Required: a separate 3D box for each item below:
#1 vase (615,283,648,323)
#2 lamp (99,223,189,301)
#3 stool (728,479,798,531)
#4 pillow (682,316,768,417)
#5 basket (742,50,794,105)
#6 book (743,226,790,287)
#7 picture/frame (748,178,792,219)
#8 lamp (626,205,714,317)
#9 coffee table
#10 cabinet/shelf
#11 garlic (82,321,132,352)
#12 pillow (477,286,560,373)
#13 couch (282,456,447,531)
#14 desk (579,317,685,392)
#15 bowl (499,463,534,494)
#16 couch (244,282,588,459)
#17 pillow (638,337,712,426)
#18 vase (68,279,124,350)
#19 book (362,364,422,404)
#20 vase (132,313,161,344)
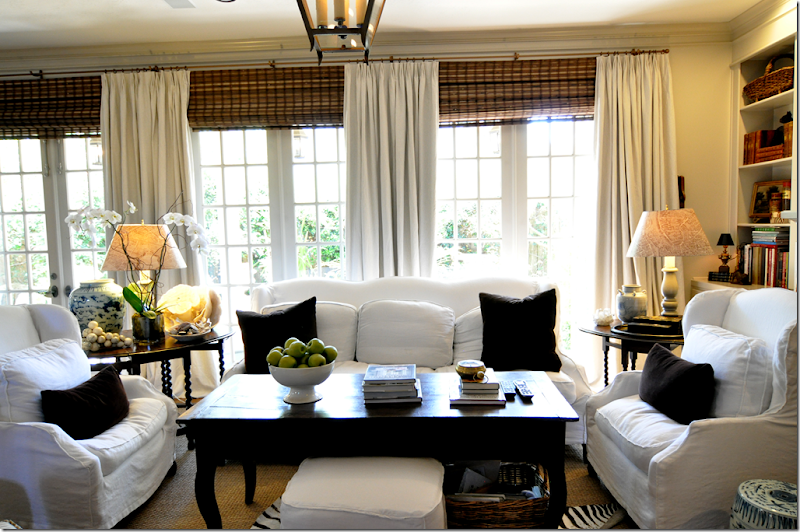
[{"bbox_3d":[1.938,0.327,5.064,0.252,0.292,0.240,-2,3,18],"label":"vase"},{"bbox_3d":[-2.085,-0.094,4.920,0.620,0.475,0.305,-5,6,-25],"label":"lamp"},{"bbox_3d":[2.120,1.417,3.526,0.326,0.253,0.303,0,6,31],"label":"stool"},{"bbox_3d":[2.232,0.748,4.185,0.396,0.601,0.700,3,7,-15],"label":"pillow"},{"bbox_3d":[3.204,-1.589,5.259,0.341,0.392,0.595,-1,2,-12],"label":"basket"},{"bbox_3d":[3.171,-0.076,5.190,0.197,0.497,0.535,-4,6,-9],"label":"book"},{"bbox_3d":[3.272,-0.583,5.341,0.163,0.440,0.453,8,-2,4],"label":"picture/frame"},{"bbox_3d":[2.165,-0.031,5.025,0.631,0.915,0.558,2,6,8],"label":"lamp"},{"bbox_3d":[-0.060,1.265,4.188,2.889,0.910,1.559,3,5,7],"label":"coffee table"},{"bbox_3d":[3.227,-0.898,5.349,0.301,1.988,0.921,1,6,1],"label":"cabinet/shelf"},{"bbox_3d":[-2.275,0.547,4.697,0.316,0.141,0.227,8,-3,-3],"label":"garlic"},{"bbox_3d":[0.937,0.483,4.775,0.710,0.599,0.434,5,7,4],"label":"pillow"},{"bbox_3d":[-0.216,1.377,3.653,0.946,0.327,0.343,-3,6,3],"label":"couch"},{"bbox_3d":[1.914,0.635,4.895,0.663,0.630,0.674,-3,-5,43],"label":"desk"},{"bbox_3d":[0.789,1.456,4.121,0.226,0.116,0.276,0,-5,4],"label":"bowl"},{"bbox_3d":[-0.098,1.200,5.439,2.913,1.346,1.365,0,-2,3],"label":"couch"},{"bbox_3d":[1.893,0.877,4.210,0.261,0.458,0.678,7,4,-6],"label":"pillow"},{"bbox_3d":[-2.464,0.333,4.954,0.426,0.392,0.425,6,10,27],"label":"vase"},{"bbox_3d":[-0.063,0.766,3.871,0.583,0.178,0.773,0,-1,-1],"label":"book"},{"bbox_3d":[-2.018,0.510,4.930,0.246,0.226,0.224,1,2,-6],"label":"vase"}]
